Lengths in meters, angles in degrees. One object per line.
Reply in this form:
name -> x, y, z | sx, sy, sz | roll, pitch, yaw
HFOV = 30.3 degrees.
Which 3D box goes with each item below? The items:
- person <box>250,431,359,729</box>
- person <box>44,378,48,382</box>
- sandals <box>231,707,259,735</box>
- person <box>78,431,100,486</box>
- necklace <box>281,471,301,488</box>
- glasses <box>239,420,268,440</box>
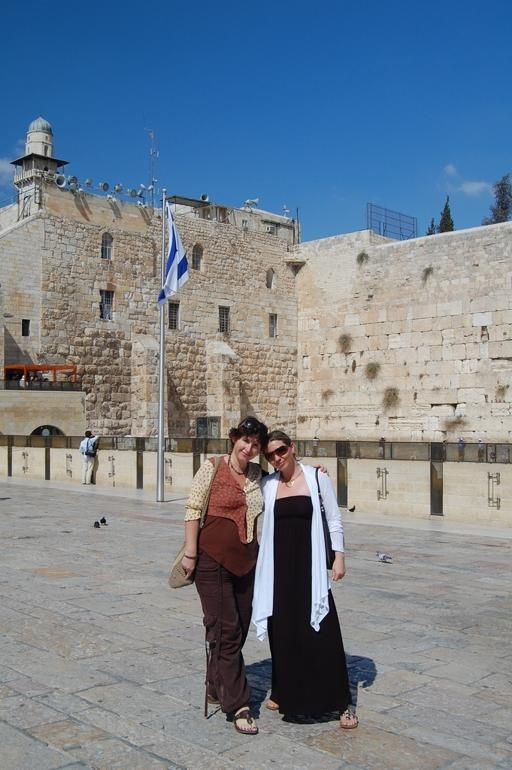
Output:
person -> 0.240, 0.853, 4.306 | 0.492, 1.317, 0.301 | 4, 0, 2
person -> -6.529, -0.192, 29.582 | 0.168, 0.133, 0.906 | 4, 0, -12
sandals -> -0.052, 1.442, 4.128 | 0.131, 0.112, 0.106 | 4, 0, 16
person -> -3.292, 1.404, 18.635 | 0.353, 1.068, 0.672 | 4, 0, -10
necklace -> 0.165, 0.424, 4.360 | 0.073, 0.074, 0.019 | -5, -3, 8
glasses -> -0.026, 0.194, 4.383 | 0.092, 0.032, 0.098 | 19, -49, -24
